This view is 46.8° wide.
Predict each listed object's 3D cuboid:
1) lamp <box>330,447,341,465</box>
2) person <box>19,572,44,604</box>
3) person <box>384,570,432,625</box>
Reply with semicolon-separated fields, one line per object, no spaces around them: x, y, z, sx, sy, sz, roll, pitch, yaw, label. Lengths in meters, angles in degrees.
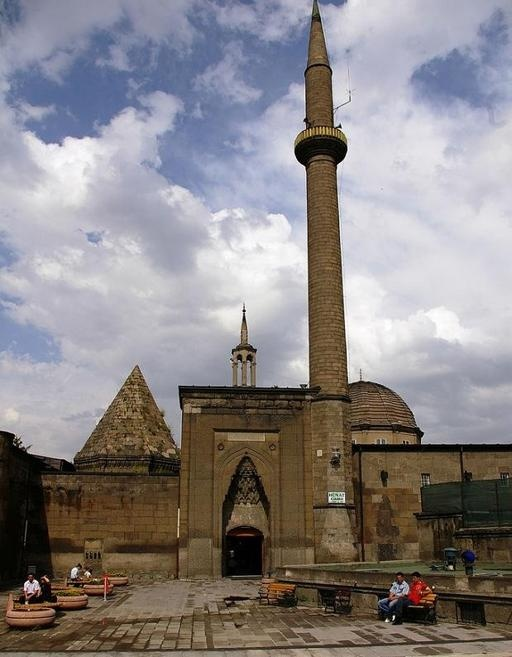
3.939;6.429;29.293;0.692;1.025;0.698;4;-17;-10;lamp
-5.580;6.523;14.732;0.499;0.536;0.962;2;-12;-20;person
3.564;6.344;13.862;0.430;0.566;1.097;33;-59;-12;person
